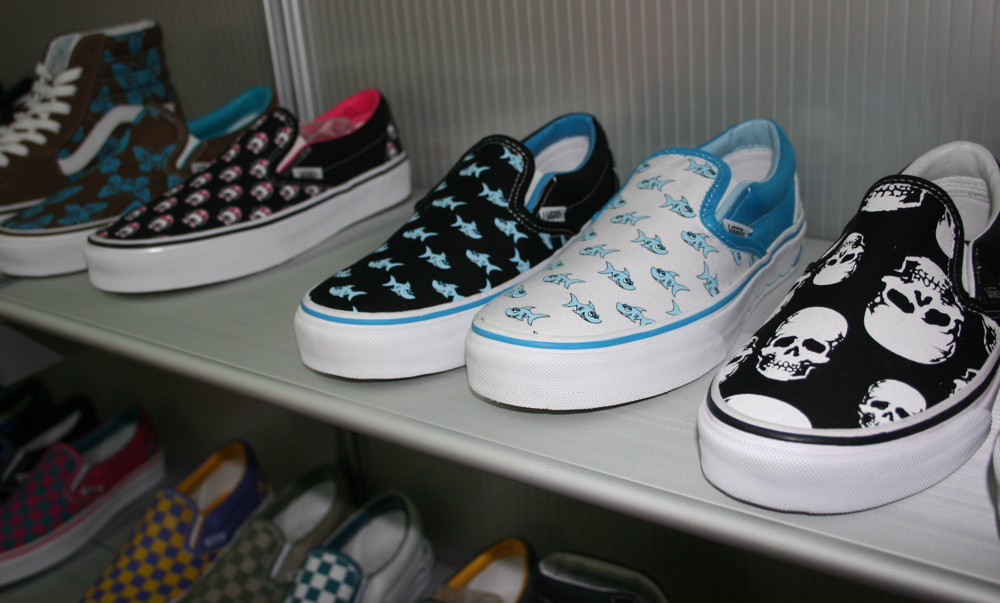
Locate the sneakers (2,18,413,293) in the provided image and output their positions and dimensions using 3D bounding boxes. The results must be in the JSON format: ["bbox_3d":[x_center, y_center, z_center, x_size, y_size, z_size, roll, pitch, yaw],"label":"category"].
[{"bbox_3d":[-0.320,-0.235,1.062,0.580,0.193,0.246,-25,33,-33],"label":"sneakers"}]
